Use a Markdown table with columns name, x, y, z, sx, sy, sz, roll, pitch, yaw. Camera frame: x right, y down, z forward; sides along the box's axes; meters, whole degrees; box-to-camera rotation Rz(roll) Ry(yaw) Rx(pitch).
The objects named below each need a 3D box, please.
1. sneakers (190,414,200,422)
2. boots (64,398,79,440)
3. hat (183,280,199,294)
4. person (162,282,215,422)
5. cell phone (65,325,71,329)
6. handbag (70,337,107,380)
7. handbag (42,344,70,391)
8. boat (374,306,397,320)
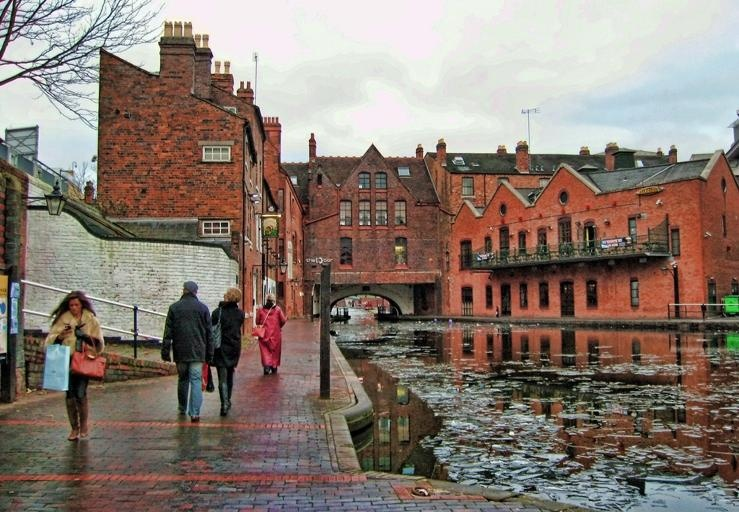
| name | x | y | z | sx | sy | sz | roll | pitch | yaw |
| --- | --- | --- | --- | --- | --- | --- | --- | --- | --- |
| sneakers | -3.399 | 3.161 | 15.804 | 0.142 | 0.093 | 0.110 | 0 | -4 | -14 |
| boots | -5.348 | 2.941 | 14.626 | 0.250 | 0.740 | 0.146 | 3 | -7 | -20 |
| hat | -3.641 | 0.658 | 16.517 | 0.296 | 0.293 | 0.362 | 9 | 9 | -9 |
| person | -3.628 | 1.869 | 16.194 | 1.004 | 2.773 | 0.682 | 2 | -7 | -12 |
| cell phone | -5.518 | 1.300 | 14.838 | 0.098 | 0.090 | 0.053 | 1 | 4 | 1 |
| handbag | -5.188 | 1.859 | 14.985 | 0.636 | 0.872 | 0.272 | 22 | -36 | -34 |
| handbag | -5.654 | 2.014 | 14.681 | 0.457 | 0.834 | 0.236 | 2 | -7 | -15 |
| boat | 1.687 | 5.726 | 78.022 | 2.071 | 1.243 | 2.031 | 0 | -4 | -12 |
